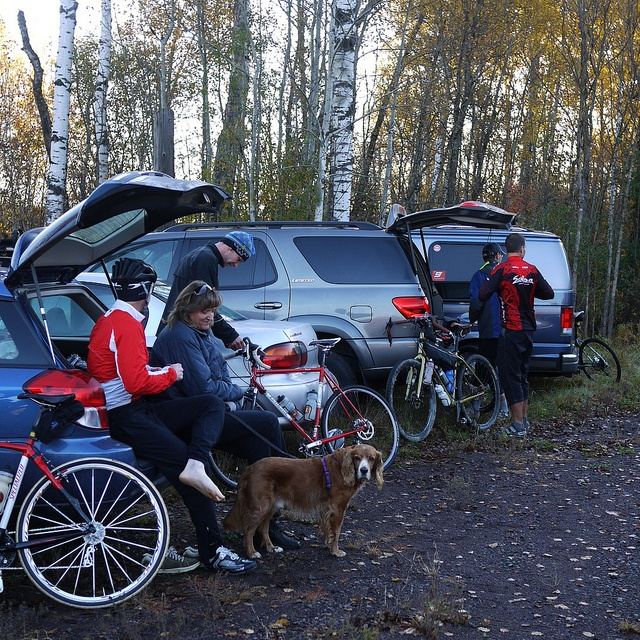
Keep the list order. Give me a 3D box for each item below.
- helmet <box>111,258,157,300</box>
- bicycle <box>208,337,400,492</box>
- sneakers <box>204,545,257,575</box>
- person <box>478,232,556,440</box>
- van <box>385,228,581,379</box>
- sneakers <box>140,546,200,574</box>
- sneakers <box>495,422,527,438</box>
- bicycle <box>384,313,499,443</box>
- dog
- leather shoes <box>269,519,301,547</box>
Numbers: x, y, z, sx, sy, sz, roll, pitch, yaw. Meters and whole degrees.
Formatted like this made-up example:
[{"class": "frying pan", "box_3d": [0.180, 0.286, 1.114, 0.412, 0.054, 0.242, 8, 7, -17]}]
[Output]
[{"class": "helmet", "box_3d": [-1.306, -0.258, 5.649, 0.272, 0.296, 0.335, -4, -10, -8]}, {"class": "bicycle", "box_3d": [-0.090, 0.889, 7.879, 2.025, 1.332, 0.959, -1, -18, -41]}, {"class": "sneakers", "box_3d": [-0.623, 1.680, 5.789, 0.369, 0.184, 0.150, 1, 0, 2]}, {"class": "person", "box_3d": [2.240, 0.178, 9.574, 0.743, 2.253, 0.618, -1, 3, -33]}, {"class": "van", "box_3d": [2.284, -0.391, 11.552, 2.699, 1.700, 1.548, 2, 1, 5]}, {"class": "sneakers", "box_3d": [-0.999, 1.669, 5.705, 0.478, 0.237, 0.182, 0, 1, -11]}, {"class": "sneakers", "box_3d": [2.214, 1.267, 9.523, 0.369, 0.198, 0.149, 3, 1, 26]}, {"class": "bicycle", "box_3d": [1.049, 0.720, 9.825, 1.938, 1.386, 0.842, 5, -6, -44]}, {"class": "dog", "box_3d": [-0.118, 1.345, 6.059, 1.170, 0.846, 0.382, 0, -3, -5]}, {"class": "leather shoes", "box_3d": [-0.319, 1.635, 6.300, 0.319, 0.150, 0.112, 12, 4, 21]}]
